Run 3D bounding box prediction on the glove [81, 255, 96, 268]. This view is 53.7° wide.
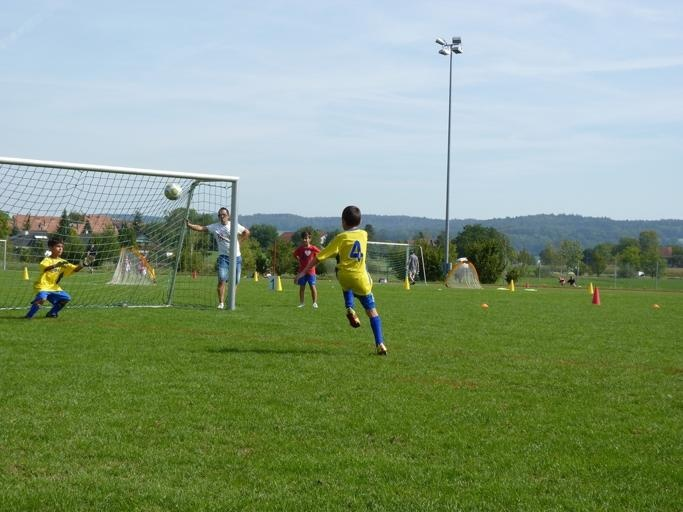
[{"bbox_3d":[-4.628,0.117,12.337,0.097,0.086,0.325,38,-49,-14],"label":"glove"}]

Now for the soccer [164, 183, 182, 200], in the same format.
[{"bbox_3d":[-3.575,-1.360,14.311,0.336,0.347,0.468,2,6,5],"label":"soccer"}]

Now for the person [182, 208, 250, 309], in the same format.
[{"bbox_3d":[-2.518,0.066,14.143,1.068,2.143,1.579,0,5,-9],"label":"person"}]

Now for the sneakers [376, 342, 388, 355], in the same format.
[{"bbox_3d":[0.517,1.243,8.912,0.100,0.180,0.171,1,-12,-6],"label":"sneakers"}]

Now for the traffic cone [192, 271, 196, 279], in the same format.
[{"bbox_3d":[-3.895,0.503,17.830,0.151,0.185,0.158,-2,-2,26],"label":"traffic cone"}]

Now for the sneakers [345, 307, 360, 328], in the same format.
[{"bbox_3d":[0.147,0.823,8.854,0.142,0.252,0.241,0,6,-9],"label":"sneakers"}]
